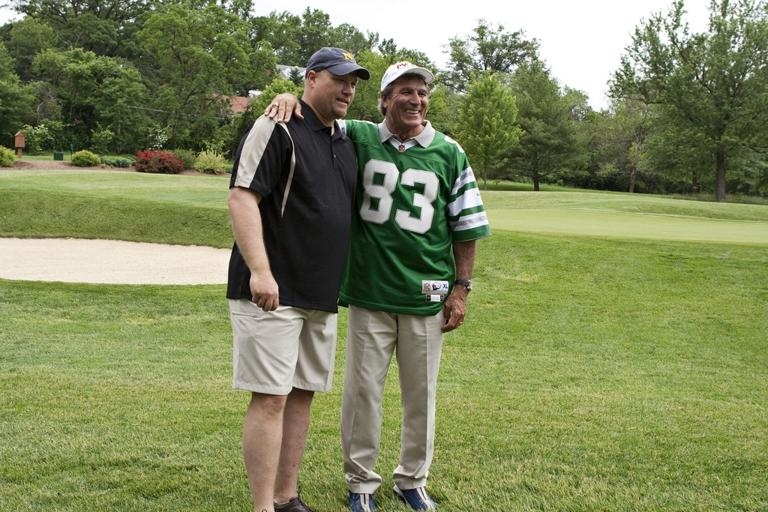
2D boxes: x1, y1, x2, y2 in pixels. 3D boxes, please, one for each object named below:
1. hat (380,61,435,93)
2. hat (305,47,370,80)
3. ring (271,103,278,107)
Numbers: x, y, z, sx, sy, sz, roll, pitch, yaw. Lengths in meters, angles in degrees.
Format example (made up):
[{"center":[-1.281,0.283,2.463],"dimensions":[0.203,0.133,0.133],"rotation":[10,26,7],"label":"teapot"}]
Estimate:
[{"center":[0.183,-1.443,5.321],"dimensions":[0.428,0.240,0.284],"rotation":[2,14,3],"label":"hat"},{"center":[-0.367,-1.480,5.119],"dimensions":[0.419,0.186,0.274],"rotation":[2,10,4],"label":"hat"},{"center":[-0.821,-1.137,4.976],"dimensions":[0.031,0.019,0.040],"rotation":[2,2,-23],"label":"ring"}]
